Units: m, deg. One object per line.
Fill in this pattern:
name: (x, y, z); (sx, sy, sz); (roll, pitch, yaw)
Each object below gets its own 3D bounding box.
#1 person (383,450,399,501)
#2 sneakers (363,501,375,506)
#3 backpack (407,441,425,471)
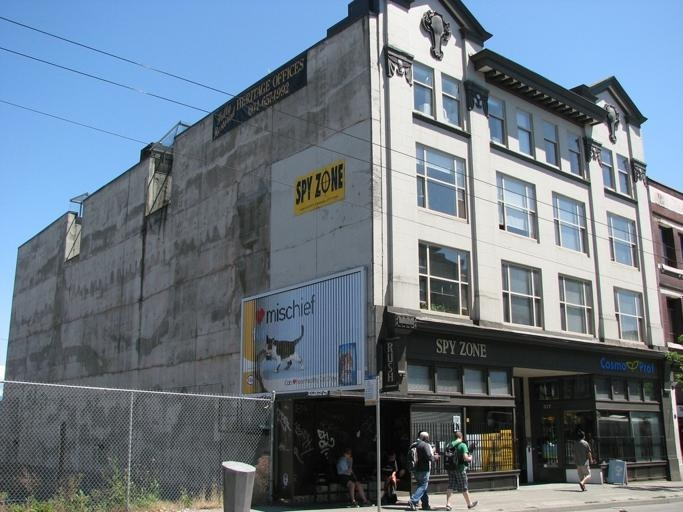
person: (1.731, 7.715, 21.518); (0.715, 1.924, 1.168); (0, -48, 5)
sneakers: (0.874, 8.272, 20.593); (0.457, 0.208, 0.171); (-2, -15, 11)
backpack: (2.320, 6.174, 19.091); (0.536, 0.868, 0.286); (-4, -19, 7)
